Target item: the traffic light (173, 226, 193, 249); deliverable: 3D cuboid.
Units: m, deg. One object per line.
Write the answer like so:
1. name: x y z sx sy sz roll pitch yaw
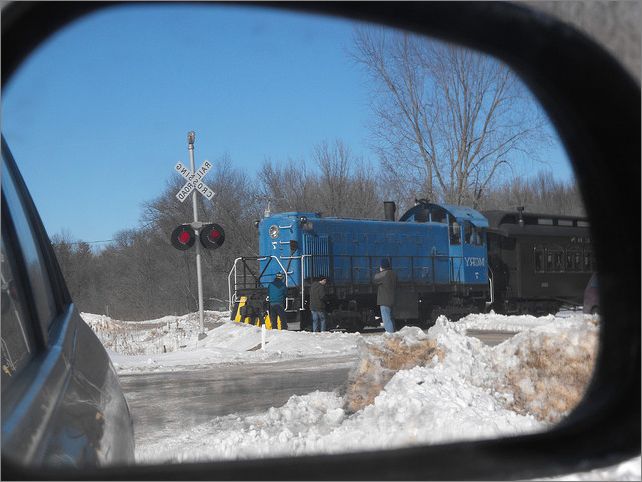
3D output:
1. traffic light: -3.318 -0.097 14.974 0.565 0.588 0.329 4 -8 -16

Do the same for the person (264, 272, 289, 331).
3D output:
1. person: -1.237 1.709 17.873 0.546 1.598 0.862 1 -8 1

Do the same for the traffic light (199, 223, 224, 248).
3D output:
1. traffic light: -2.677 -0.128 15.286 0.577 0.609 0.455 4 -8 -15

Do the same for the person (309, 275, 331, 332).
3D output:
1. person: -0.098 1.776 17.756 0.490 1.589 0.982 2 -8 -1

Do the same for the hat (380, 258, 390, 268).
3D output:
1. hat: 1.657 0.576 16.196 0.179 0.168 0.280 -1 6 13

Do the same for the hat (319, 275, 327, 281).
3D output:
1. hat: 0.026 1.065 18.062 0.110 0.141 0.130 -1 0 22

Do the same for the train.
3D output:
1. train: 4.205 1.217 22.055 12.746 5.205 3.845 2 -10 -24
